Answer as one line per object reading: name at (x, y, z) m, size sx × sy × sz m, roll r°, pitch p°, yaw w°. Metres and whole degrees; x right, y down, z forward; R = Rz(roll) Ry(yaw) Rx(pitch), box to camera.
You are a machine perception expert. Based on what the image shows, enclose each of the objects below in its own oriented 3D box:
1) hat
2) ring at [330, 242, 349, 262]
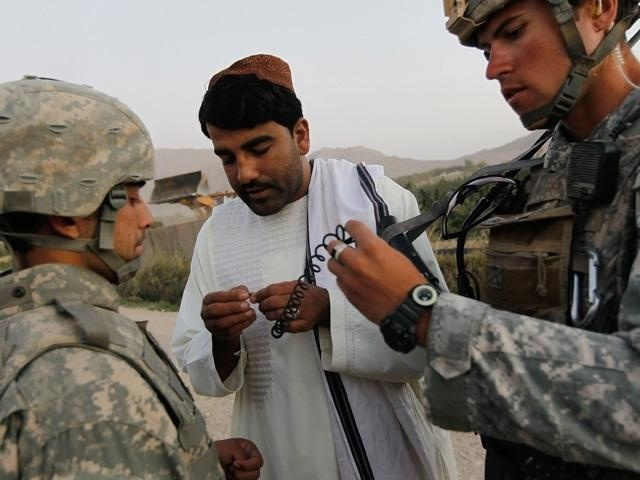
hat at (-0.381, -0.840, 3.021) m, size 0.430 × 0.117 × 0.446 m, roll -11°, pitch 2°, yaw -25°
ring at (0.076, 0.041, 2.112) m, size 0.070 × 0.059 × 0.030 m, roll -19°, pitch -40°, yaw -20°
